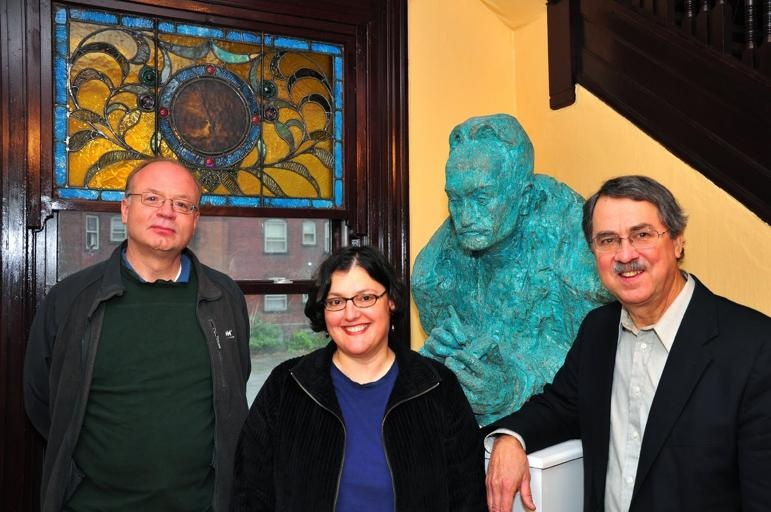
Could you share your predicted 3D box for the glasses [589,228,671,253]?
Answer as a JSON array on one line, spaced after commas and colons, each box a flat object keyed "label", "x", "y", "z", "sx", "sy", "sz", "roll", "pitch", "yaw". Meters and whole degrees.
[{"label": "glasses", "x": 0.875, "y": -0.052, "z": 2.446, "sx": 0.237, "sy": 0.083, "sz": 0.067, "roll": 0, "pitch": 2, "yaw": 25}]

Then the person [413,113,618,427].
[{"label": "person", "x": 0.550, "y": 0.174, "z": 3.334, "sx": 1.046, "sy": 1.581, "sz": 0.854, "roll": 5, "pitch": 13, "yaw": 32}]
